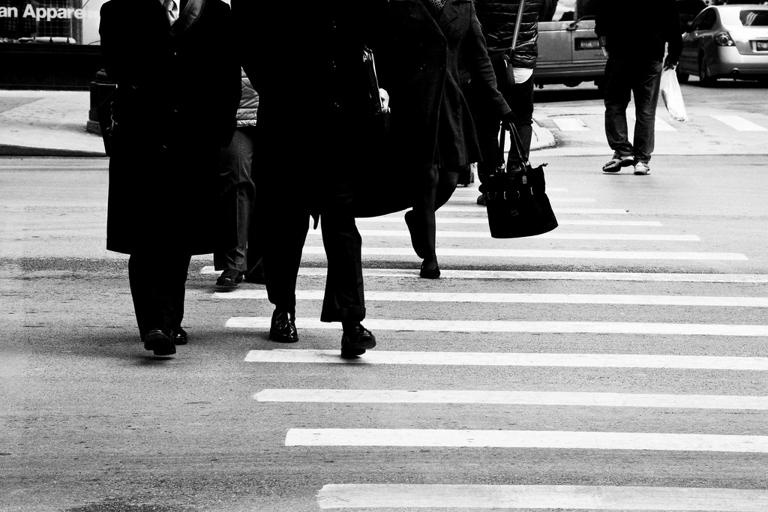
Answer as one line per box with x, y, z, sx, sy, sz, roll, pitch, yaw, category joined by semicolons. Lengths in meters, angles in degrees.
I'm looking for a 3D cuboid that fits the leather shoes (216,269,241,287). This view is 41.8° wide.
-1.277;0.181;8.271;0.107;0.096;0.247;3;-2;13;leather shoes

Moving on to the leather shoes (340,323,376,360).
-0.163;0.556;6.590;0.140;0.153;0.354;8;-29;-25;leather shoes

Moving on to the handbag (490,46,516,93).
1.246;-2.041;10.954;0.201;0.470;0.393;-2;22;0;handbag
